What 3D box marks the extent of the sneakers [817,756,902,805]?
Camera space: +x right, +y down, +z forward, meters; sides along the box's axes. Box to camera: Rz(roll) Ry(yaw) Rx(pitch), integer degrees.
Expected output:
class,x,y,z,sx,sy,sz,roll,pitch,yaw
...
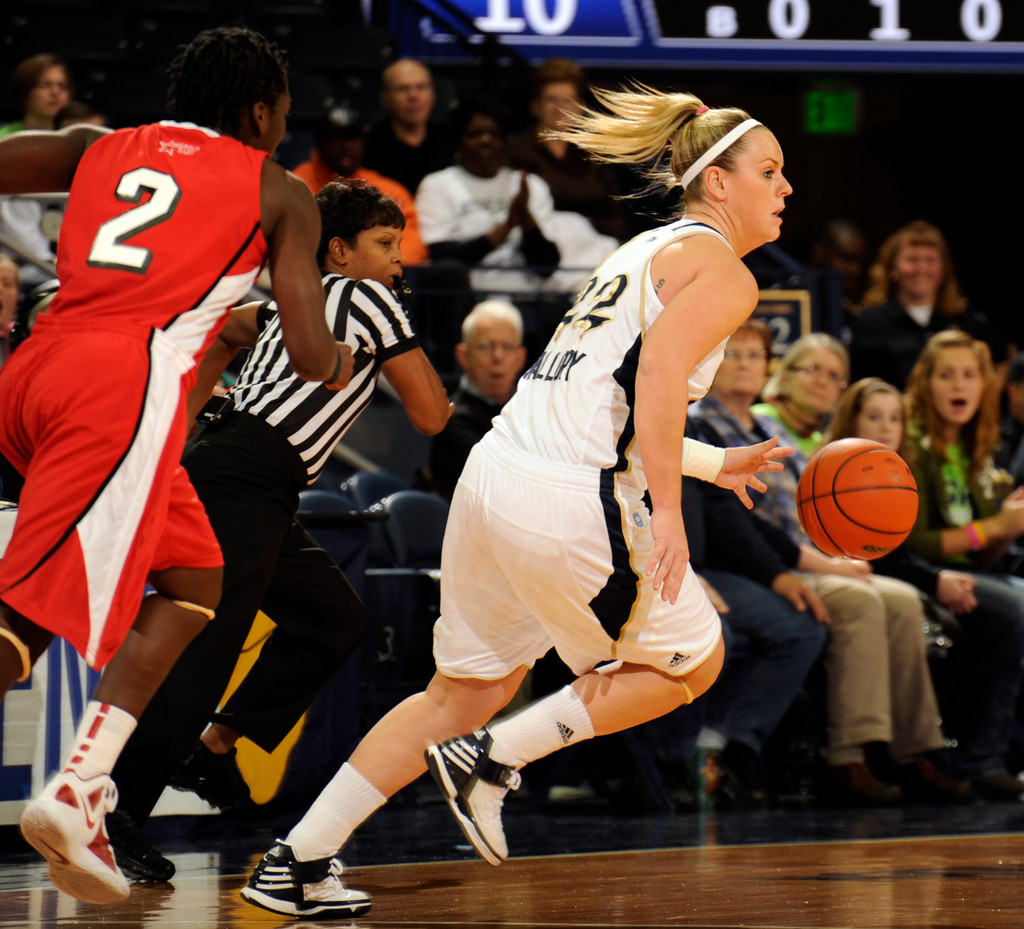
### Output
class,x,y,z,sx,sy,sz,roll,pitch,yaw
sneakers,1.249,1.151,5.119,0.301,0.158,0.134,-1,4,30

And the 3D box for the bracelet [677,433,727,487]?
class,x,y,z,sx,sy,sz,roll,pitch,yaw
bracelet,0.432,-0.009,3.296,0.178,0.099,0.124,7,-6,-9

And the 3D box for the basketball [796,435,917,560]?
class,x,y,z,sx,sy,sz,roll,pitch,yaw
basketball,0.829,0.082,3.571,0.334,0.286,0.297,3,0,7

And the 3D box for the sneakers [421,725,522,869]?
class,x,y,z,sx,sy,sz,roll,pitch,yaw
sneakers,-0.077,0.759,3.139,0.143,0.341,0.203,0,5,40

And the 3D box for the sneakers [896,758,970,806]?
class,x,y,z,sx,sy,sz,roll,pitch,yaw
sneakers,1.567,1.153,5.207,0.262,0.163,0.113,-1,4,27
